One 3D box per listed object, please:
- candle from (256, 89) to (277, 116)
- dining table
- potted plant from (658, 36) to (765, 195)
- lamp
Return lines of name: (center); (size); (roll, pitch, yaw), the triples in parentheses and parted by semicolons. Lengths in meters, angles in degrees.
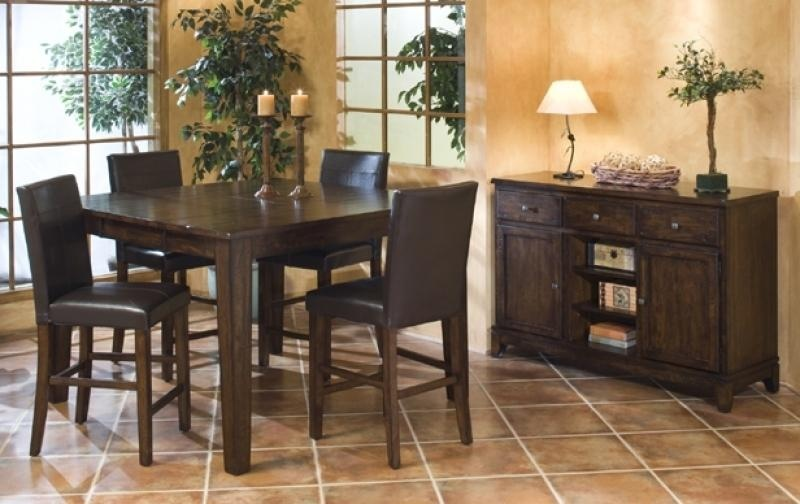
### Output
candle: (-0.822, -0.920, 4.219); (0.090, 0.155, 0.210); (-2, 11, -5)
dining table: (-1.028, 0.361, 4.258); (1.808, 1.168, 1.678); (-4, 6, -43)
potted plant: (1.870, -0.883, 4.342); (0.649, 0.959, 0.584); (10, 16, 40)
lamp: (1.187, -0.880, 4.866); (0.404, 0.691, 0.478); (2, 12, 12)
